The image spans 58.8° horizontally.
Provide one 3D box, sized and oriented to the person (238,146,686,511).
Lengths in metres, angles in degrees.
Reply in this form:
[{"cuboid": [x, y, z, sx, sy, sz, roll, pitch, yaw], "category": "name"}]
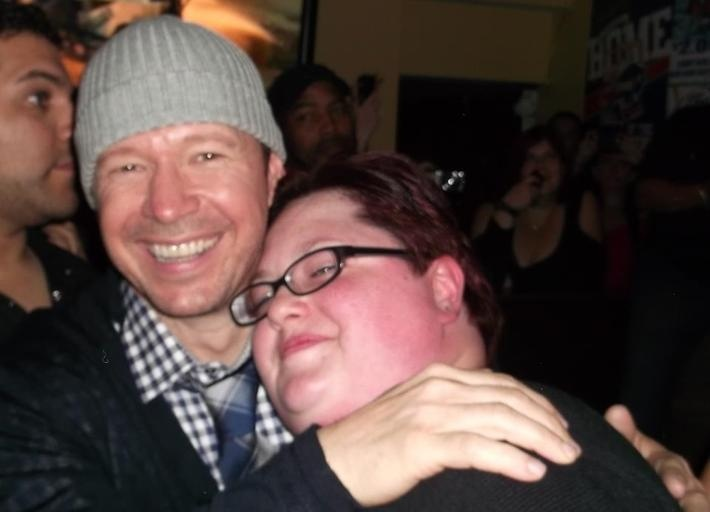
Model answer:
[{"cuboid": [0.198, 0.226, 1.973, 0.884, 0.676, 1.330, -14, 29, -26], "category": "person"}]
